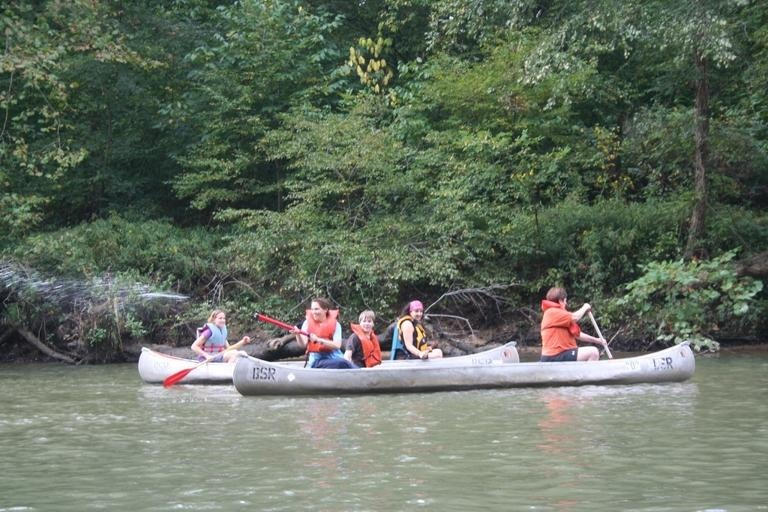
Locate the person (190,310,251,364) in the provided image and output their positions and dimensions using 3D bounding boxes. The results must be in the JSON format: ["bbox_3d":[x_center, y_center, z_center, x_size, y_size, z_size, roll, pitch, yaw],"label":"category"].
[{"bbox_3d":[-4.216,2.278,30.661,1.294,1.655,0.954,8,7,7],"label":"person"}]

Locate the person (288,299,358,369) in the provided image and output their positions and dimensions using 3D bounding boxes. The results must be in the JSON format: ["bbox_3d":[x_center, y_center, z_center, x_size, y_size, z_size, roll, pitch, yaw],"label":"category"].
[{"bbox_3d":[-1.512,1.896,29.051,1.248,1.734,0.720,-2,-5,-4],"label":"person"}]

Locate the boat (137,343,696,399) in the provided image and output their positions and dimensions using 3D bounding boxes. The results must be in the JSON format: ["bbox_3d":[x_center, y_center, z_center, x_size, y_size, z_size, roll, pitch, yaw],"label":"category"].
[{"bbox_3d":[0.967,2.790,29.892,13.305,1.381,2.093,-2,-6,-5],"label":"boat"}]

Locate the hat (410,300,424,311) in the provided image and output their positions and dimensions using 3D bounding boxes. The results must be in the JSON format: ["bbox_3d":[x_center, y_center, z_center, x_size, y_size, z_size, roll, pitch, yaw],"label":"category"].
[{"bbox_3d":[0.746,1.234,29.635,0.312,0.268,0.416,-3,-6,-3],"label":"hat"}]

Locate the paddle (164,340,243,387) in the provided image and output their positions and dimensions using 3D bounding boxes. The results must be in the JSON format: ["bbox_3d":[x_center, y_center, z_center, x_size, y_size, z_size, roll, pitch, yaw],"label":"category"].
[{"bbox_3d":[-4.572,2.771,30.254,2.365,0.267,0.191,-23,-13,-4],"label":"paddle"}]
